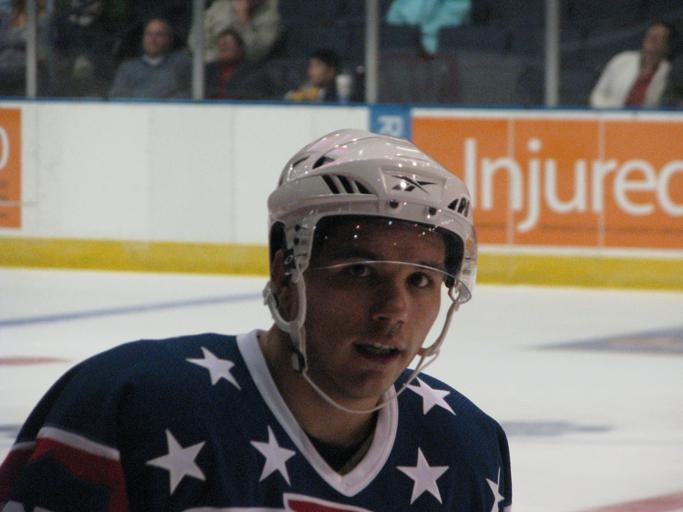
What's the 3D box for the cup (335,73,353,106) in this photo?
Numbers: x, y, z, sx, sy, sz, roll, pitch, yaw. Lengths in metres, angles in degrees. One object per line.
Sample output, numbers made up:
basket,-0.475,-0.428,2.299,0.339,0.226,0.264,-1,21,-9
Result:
cup,0.008,-0.885,9.206,0.101,0.162,0.140,1,3,0
